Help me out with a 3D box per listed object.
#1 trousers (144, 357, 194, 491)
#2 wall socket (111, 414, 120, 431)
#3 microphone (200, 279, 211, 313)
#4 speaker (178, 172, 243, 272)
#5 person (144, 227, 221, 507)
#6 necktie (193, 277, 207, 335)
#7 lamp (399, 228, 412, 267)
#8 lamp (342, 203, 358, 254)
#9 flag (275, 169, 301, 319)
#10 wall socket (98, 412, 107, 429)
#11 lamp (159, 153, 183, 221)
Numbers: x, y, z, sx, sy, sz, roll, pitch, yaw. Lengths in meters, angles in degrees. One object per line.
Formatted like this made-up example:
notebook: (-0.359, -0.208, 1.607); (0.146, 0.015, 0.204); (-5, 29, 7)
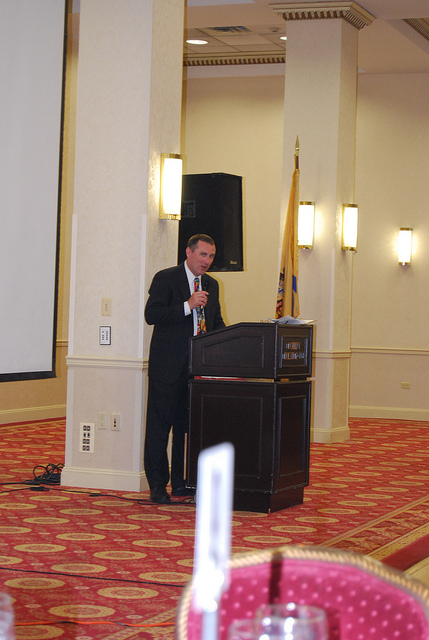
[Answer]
trousers: (-0.426, 0.932, 5.034); (0.361, 1.171, 0.371); (2, -4, -4)
wall socket: (-0.910, 0.941, 5.219); (0.080, 0.151, 0.017); (0, -4, 18)
microphone: (-0.069, -0.210, 4.979); (0.069, 0.293, 0.070); (-8, -21, 31)
speaker: (-0.022, -1.130, 6.642); (0.783, 1.212, 0.542); (2, -4, -4)
person: (-0.341, 0.429, 4.994); (0.646, 2.304, 0.635); (1, -4, 10)
necktie: (-0.120, -0.122, 4.951); (0.135, 0.484, 0.097); (3, -4, -20)
lamp: (3.494, -1.317, 10.412); (0.220, 0.690, 0.170); (1, -4, 10)
lamp: (1.936, -1.322, 8.171); (0.189, 0.680, 0.249); (0, -4, 21)
flag: (0.949, -0.956, 7.133); (0.191, 1.878, 0.406); (3, -4, -21)
wall socket: (-1.033, 0.931, 5.249); (0.090, 0.156, 0.019); (0, -4, 23)
lamp: (-0.403, -1.249, 5.344); (0.219, 0.637, 0.140); (3, -4, -17)
